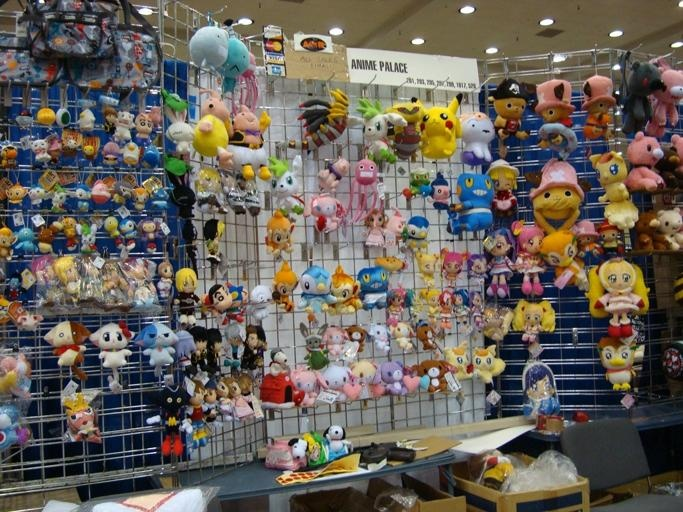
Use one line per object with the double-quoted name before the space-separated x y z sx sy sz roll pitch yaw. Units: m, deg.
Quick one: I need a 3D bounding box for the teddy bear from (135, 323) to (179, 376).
"teddy bear" -1.064 0.534 4.410 0.288 0.351 0.166 2 -14 -32

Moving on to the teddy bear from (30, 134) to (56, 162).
"teddy bear" -1.677 -0.624 4.343 0.110 0.193 0.137 13 22 43

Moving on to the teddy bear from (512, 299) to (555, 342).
"teddy bear" 1.383 0.450 5.407 0.263 0.308 0.114 1 -5 15

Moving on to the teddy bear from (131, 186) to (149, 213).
"teddy bear" -1.165 -0.334 4.403 0.100 0.136 0.083 1 -7 -35

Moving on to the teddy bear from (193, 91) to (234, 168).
"teddy bear" -0.777 -0.765 4.593 0.235 0.473 0.219 -1 -6 -12

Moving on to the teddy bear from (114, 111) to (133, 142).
"teddy bear" -1.250 -0.742 4.365 0.109 0.159 0.105 -2 -6 -9

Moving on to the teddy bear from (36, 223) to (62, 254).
"teddy bear" -1.680 -0.094 4.336 0.177 0.178 0.092 -6 -7 33

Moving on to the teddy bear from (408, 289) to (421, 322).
"teddy bear" 0.513 0.344 5.312 0.095 0.223 0.285 -3 -6 5

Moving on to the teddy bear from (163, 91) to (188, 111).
"teddy bear" -0.972 -0.909 4.475 0.171 0.127 0.066 2 -7 -38

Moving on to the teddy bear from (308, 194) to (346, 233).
"teddy bear" -0.095 -0.283 5.070 0.213 0.237 0.296 -4 -6 13

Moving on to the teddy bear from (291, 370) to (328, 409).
"teddy bear" -0.205 0.806 4.891 0.278 0.290 0.204 6 -6 -44

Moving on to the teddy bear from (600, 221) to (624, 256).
"teddy bear" 1.884 -0.125 5.286 0.188 0.313 0.160 -4 -4 21

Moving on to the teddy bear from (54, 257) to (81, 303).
"teddy bear" -1.492 0.126 4.154 0.130 0.258 0.058 -9 -6 -19

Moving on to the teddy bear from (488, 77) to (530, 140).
"teddy bear" 1.228 -1.043 5.410 0.296 0.422 0.184 -2 -6 -8

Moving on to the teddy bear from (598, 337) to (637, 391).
"teddy bear" 1.922 0.730 5.240 0.252 0.353 0.097 -5 -6 21

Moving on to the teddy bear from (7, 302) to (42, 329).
"teddy bear" -1.748 0.334 4.200 0.111 0.084 0.200 22 13 -48

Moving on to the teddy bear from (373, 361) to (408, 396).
"teddy bear" 0.327 0.808 5.054 0.204 0.218 0.150 3 -8 -44

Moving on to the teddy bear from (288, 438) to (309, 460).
"teddy bear" -0.263 1.179 4.650 0.113 0.118 0.105 -3 -6 4

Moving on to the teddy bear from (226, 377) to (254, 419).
"teddy bear" -0.619 0.879 4.648 0.143 0.254 0.072 -12 -13 -23

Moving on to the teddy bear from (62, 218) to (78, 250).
"teddy bear" -1.539 -0.126 4.320 0.077 0.184 0.073 -10 -6 -17

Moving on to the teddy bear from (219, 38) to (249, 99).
"teddy bear" -0.686 -1.195 4.695 0.209 0.375 0.232 5 8 9

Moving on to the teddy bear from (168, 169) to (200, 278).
"teddy bear" -0.971 -0.194 4.630 0.175 0.590 0.367 -1 -6 -12

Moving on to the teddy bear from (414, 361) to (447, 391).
"teddy bear" 0.610 0.800 5.198 0.253 0.273 0.173 0 -11 -14

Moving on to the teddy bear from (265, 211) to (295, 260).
"teddy bear" -0.404 -0.143 4.921 0.186 0.301 0.264 0 -6 -23

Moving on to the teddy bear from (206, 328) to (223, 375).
"teddy bear" -0.769 0.573 4.587 0.077 0.273 0.132 -4 -6 20

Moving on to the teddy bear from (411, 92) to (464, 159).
"teddy bear" 0.652 -0.842 5.287 0.469 0.638 0.366 0 0 2

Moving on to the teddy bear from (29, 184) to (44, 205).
"teddy bear" -1.715 -0.341 4.328 0.076 0.109 0.102 2 6 -10

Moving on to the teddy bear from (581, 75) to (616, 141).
"teddy bear" 1.821 -1.034 5.359 0.228 0.413 0.341 -4 -6 16

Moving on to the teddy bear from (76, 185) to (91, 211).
"teddy bear" -1.492 -0.332 4.385 0.083 0.148 0.153 0 -6 -19

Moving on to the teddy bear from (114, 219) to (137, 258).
"teddy bear" -1.255 -0.127 4.427 0.129 0.183 0.098 -3 9 -5

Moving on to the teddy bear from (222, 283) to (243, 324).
"teddy bear" -0.669 0.286 4.665 0.149 0.245 0.181 -5 -5 -21

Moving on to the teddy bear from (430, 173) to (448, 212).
"teddy bear" 0.709 -0.462 5.388 0.126 0.284 0.338 -3 -6 9

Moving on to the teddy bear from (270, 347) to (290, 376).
"teddy bear" -0.395 0.673 4.878 0.131 0.157 0.144 -3 0 23

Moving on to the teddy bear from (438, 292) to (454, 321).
"teddy bear" 0.737 0.340 5.307 0.105 0.202 0.209 -3 -6 9

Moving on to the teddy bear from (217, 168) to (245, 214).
"teddy bear" -0.676 -0.401 4.698 0.157 0.265 0.064 -2 -10 -42

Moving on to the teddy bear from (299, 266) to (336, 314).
"teddy bear" -0.155 0.209 4.919 0.239 0.288 0.173 -2 -6 -7

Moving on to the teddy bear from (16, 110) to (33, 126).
"teddy bear" -1.753 -0.751 4.209 0.070 0.067 0.081 2 -7 -26

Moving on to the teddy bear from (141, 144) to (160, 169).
"teddy bear" -1.112 -0.583 4.432 0.100 0.131 0.155 -1 -6 -15

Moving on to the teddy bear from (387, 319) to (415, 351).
"teddy bear" 0.403 0.539 5.198 0.155 0.298 0.152 6 -22 -24

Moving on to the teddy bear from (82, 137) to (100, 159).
"teddy bear" -1.429 -0.620 4.320 0.086 0.130 0.052 1 -15 -1

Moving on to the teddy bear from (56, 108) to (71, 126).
"teddy bear" -1.566 -0.773 4.265 0.071 0.098 0.159 -1 -6 -19

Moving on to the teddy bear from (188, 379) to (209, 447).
"teddy bear" -0.841 0.920 4.470 0.079 0.384 0.157 -3 -6 5

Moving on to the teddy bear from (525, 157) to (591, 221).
"teddy bear" 1.473 -0.440 5.415 0.470 0.595 0.383 3 -12 8

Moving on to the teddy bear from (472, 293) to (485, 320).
"teddy bear" 0.987 0.357 5.436 0.061 0.188 0.248 -5 -6 23

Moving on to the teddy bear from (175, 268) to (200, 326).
"teddy bear" -0.916 0.240 4.502 0.147 0.347 0.155 -1 -6 -12
